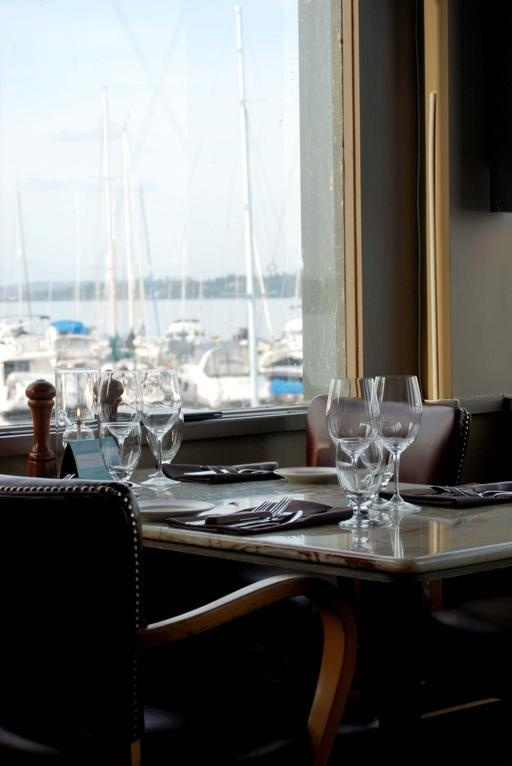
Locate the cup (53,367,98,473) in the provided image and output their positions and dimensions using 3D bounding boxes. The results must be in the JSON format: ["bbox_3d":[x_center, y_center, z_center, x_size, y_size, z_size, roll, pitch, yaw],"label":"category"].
[{"bbox_3d":[-0.418,0.054,1.943,0.103,0.231,0.134,-1,0,-17],"label":"cup"}]
